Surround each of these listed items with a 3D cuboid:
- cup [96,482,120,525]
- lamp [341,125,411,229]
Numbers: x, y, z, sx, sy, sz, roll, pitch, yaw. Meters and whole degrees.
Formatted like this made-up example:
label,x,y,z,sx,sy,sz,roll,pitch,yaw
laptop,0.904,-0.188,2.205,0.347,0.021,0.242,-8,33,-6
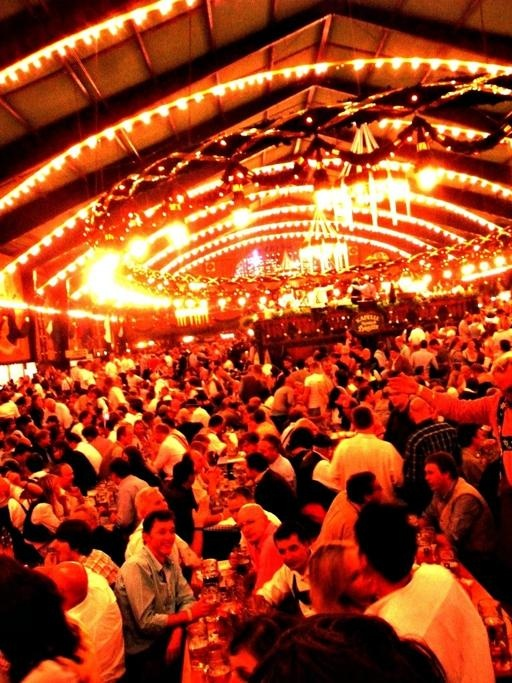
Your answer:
label,x,y,z,sx,sy,sz,roll,pitch,yaw
cup,-1.840,1.988,6.110,0.305,0.589,0.532,-3,-12,-3
lamp,1.598,-2.691,7.282,0.940,1.516,0.924,-15,27,-5
